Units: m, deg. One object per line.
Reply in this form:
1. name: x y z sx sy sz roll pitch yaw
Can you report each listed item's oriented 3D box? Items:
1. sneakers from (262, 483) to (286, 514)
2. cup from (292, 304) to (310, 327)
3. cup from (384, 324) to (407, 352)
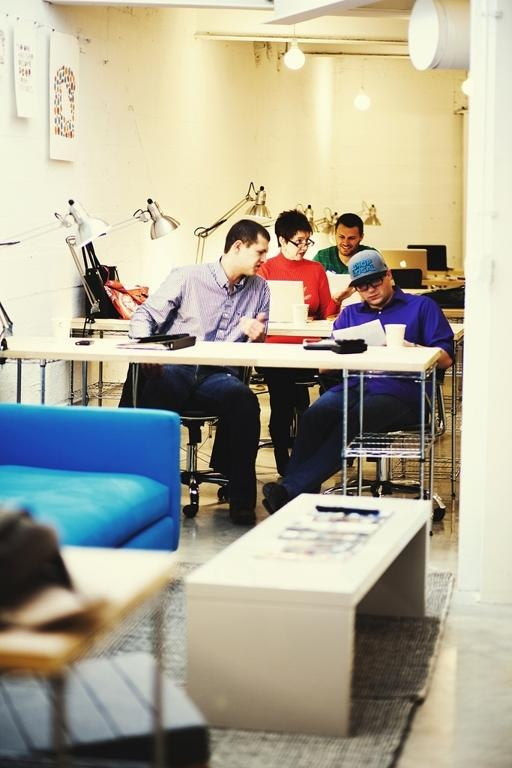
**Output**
1. sneakers: 0.078 0.502 3.178 0.068 0.193 0.089 -20 -18 31
2. cup: 0.248 -0.381 3.934 0.110 0.115 0.111 2 11 0
3. cup: 0.589 -0.193 3.015 0.100 0.097 0.100 -1 6 0
